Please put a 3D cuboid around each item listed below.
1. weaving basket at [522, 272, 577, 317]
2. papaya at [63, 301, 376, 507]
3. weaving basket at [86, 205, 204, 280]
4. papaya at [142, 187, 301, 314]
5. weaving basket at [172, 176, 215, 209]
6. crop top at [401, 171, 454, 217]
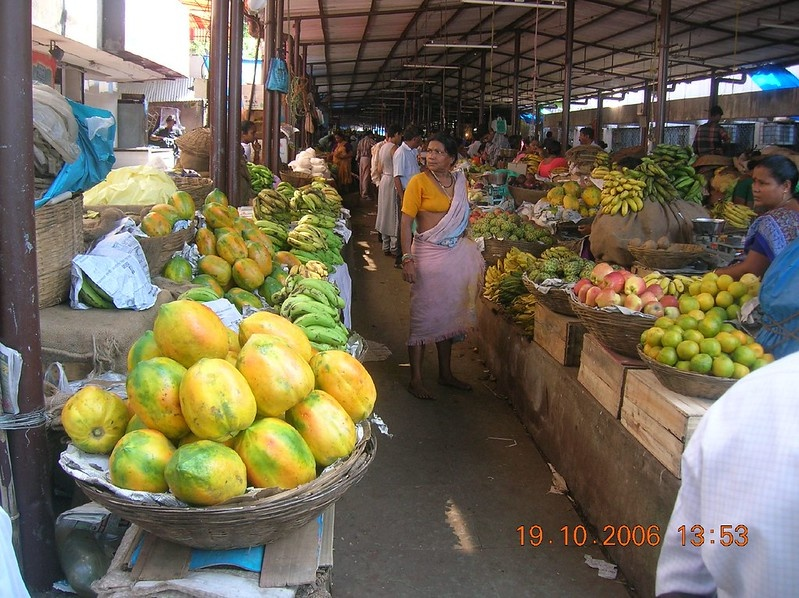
[{"bbox_3d":[1.059,-0.022,3.810,0.246,0.095,0.233,19,9,-10],"label":"weaving basket"},{"bbox_3d":[-0.507,0.334,1.586,0.617,0.360,0.677,-4,6,-22],"label":"papaya"},{"bbox_3d":[-1.458,-0.317,3.071,0.578,0.350,0.640,-2,12,-18],"label":"weaving basket"},{"bbox_3d":[-1.044,-0.267,3.308,0.797,0.296,0.610,46,26,24],"label":"papaya"},{"bbox_3d":[-1.676,-0.934,4.673,0.360,0.280,0.385,13,15,43],"label":"weaving basket"},{"bbox_3d":[0.222,-0.805,4.312,0.395,0.357,0.165,1,10,-3],"label":"crop top"}]
